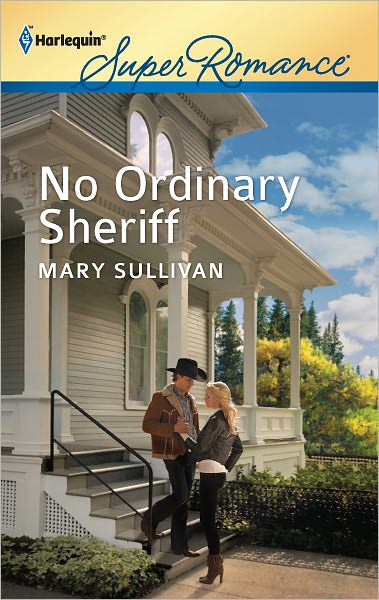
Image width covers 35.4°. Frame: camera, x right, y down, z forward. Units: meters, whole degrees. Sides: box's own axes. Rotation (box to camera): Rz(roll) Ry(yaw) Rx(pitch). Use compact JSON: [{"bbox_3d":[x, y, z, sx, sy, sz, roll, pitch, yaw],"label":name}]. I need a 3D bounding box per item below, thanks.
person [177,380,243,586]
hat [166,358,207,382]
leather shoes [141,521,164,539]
[{"bbox_3d":[0.233,1.677,5.483,0.402,1.831,0.672,-1,-11,12],"label":"person"},{"bbox_3d":[-0.038,0.685,5.751,0.317,0.122,0.240,17,-4,18],"label":"hat"},{"bbox_3d":[-0.380,2.219,5.719,0.250,0.085,0.177,16,-21,17],"label":"leather shoes"}]
